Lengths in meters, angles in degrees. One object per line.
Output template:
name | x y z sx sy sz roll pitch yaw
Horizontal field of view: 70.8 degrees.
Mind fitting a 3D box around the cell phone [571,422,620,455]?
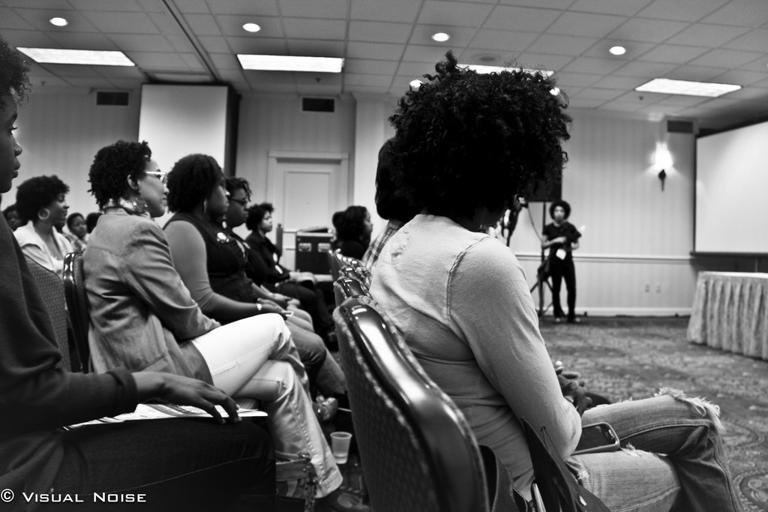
cell phone | 0.666 0.576 1.677 0.117 0.091 0.039 -12 -32 18

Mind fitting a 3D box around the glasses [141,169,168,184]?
glasses | -1.004 -0.345 2.351 0.134 0.042 0.136 -2 4 -15

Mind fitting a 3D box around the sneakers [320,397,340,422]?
sneakers | -0.286 0.829 2.889 0.090 0.112 0.119 0 8 -2

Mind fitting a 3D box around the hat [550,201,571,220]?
hat | 2.569 -0.684 7.878 0.266 0.305 0.137 3 -11 16

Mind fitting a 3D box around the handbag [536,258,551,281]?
handbag | 2.305 0.209 7.814 0.084 0.273 0.193 8 4 -22
